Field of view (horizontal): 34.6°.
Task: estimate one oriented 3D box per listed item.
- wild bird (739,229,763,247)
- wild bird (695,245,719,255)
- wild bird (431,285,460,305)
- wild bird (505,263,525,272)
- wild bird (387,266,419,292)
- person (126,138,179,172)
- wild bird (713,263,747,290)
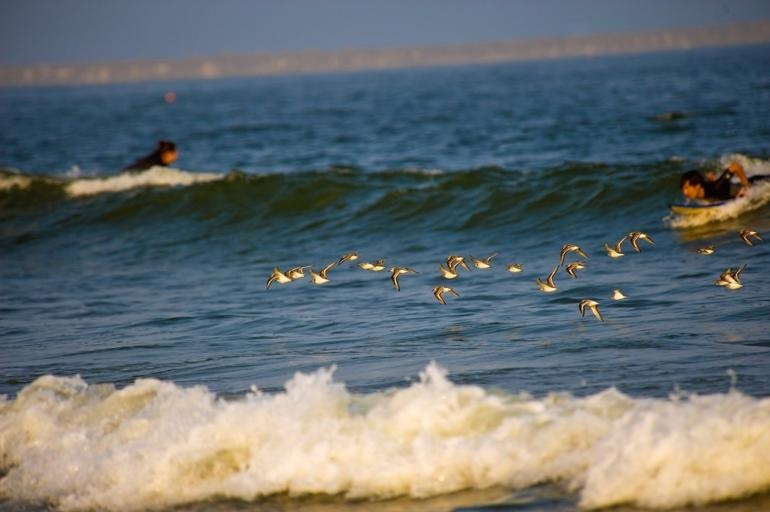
[{"bbox_3d":[10.517,-0.601,35.994,0.257,0.500,0.562,34,-28,-26],"label":"wild bird"},{"bbox_3d":[9.208,-0.215,35.588,0.568,0.246,1.172,1,13,15],"label":"wild bird"},{"bbox_3d":[1.681,1.025,34.179,0.750,0.509,0.625,-8,14,-20],"label":"wild bird"},{"bbox_3d":[3.625,0.347,34.874,0.444,0.304,0.427,-1,13,7],"label":"wild bird"},{"bbox_3d":[0.429,0.564,35.141,0.758,0.545,1.140,-1,13,10],"label":"wild bird"},{"bbox_3d":[-8.339,-3.508,44.074,1.728,0.616,0.990,-18,43,-8],"label":"person"},{"bbox_3d":[9.386,0.504,33.794,0.724,0.610,1.179,2,14,19],"label":"wild bird"}]
